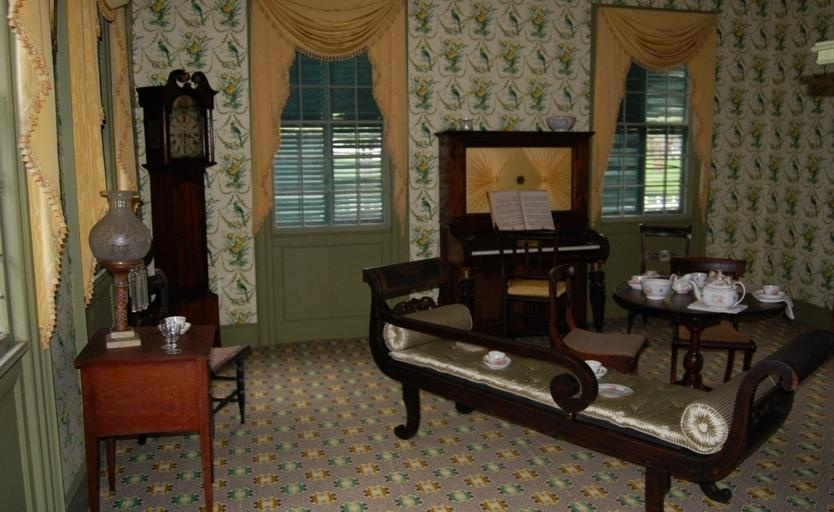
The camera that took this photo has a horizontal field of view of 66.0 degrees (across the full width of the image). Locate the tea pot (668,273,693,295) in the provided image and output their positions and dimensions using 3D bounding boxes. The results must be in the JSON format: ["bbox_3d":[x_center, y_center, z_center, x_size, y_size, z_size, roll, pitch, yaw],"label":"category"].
[{"bbox_3d":[2.317,0.244,5.555,0.197,0.135,0.155,2,1,-20],"label":"tea pot"}]

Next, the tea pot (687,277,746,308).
[{"bbox_3d":[2.468,0.291,5.235,0.403,0.250,0.273,3,7,18],"label":"tea pot"}]

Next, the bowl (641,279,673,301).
[{"bbox_3d":[2.059,0.282,5.458,0.205,0.129,0.200,4,7,-1],"label":"bowl"}]

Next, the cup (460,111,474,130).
[{"bbox_3d":[0.585,-1.541,7.327,0.159,0.215,0.310,-1,7,6],"label":"cup"}]

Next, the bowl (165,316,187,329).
[{"bbox_3d":[-1.730,0.469,4.579,0.147,0.091,0.143,2,3,0],"label":"bowl"}]

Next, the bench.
[{"bbox_3d":[1.133,0.852,4.582,2.965,1.492,0.953,4,10,36],"label":"bench"}]

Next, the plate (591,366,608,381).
[{"bbox_3d":[1.362,0.848,4.681,0.143,0.041,0.140,-1,15,2],"label":"plate"}]

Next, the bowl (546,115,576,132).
[{"bbox_3d":[1.668,-1.539,7.484,0.328,0.184,0.230,1,8,20],"label":"bowl"}]

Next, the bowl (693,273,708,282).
[{"bbox_3d":[2.515,0.177,5.663,0.088,0.074,0.093,3,13,-1],"label":"bowl"}]

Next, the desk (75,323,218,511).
[{"bbox_3d":[-1.754,0.940,4.969,1.088,1.385,1.387,-2,8,-9],"label":"desk"}]

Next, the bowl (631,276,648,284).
[{"bbox_3d":[1.995,0.209,5.703,0.127,0.051,0.081,-2,8,-2],"label":"bowl"}]
